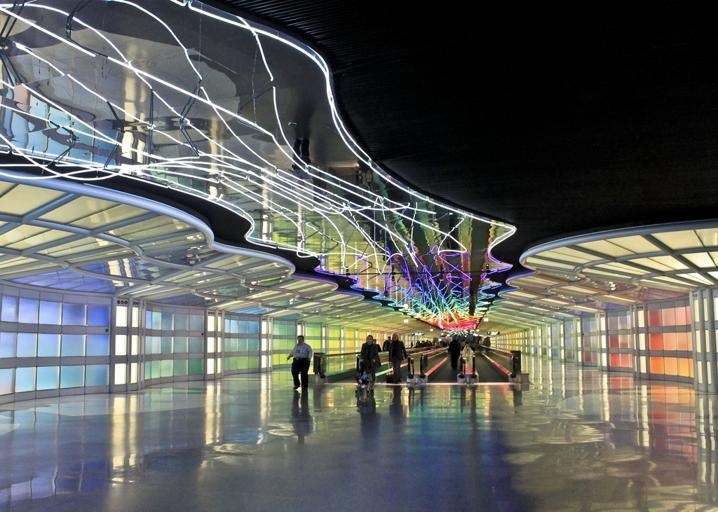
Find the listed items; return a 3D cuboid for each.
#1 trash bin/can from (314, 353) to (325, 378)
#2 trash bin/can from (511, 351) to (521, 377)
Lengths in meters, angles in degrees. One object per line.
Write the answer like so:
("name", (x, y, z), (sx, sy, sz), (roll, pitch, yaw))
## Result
("trash bin/can", (-1.966, 5.510, 28.328), (0.651, 1.242, 0.575), (4, -13, -11))
("trash bin/can", (7.133, 4.925, 25.716), (0.410, 1.162, 0.713), (0, -13, 6))
